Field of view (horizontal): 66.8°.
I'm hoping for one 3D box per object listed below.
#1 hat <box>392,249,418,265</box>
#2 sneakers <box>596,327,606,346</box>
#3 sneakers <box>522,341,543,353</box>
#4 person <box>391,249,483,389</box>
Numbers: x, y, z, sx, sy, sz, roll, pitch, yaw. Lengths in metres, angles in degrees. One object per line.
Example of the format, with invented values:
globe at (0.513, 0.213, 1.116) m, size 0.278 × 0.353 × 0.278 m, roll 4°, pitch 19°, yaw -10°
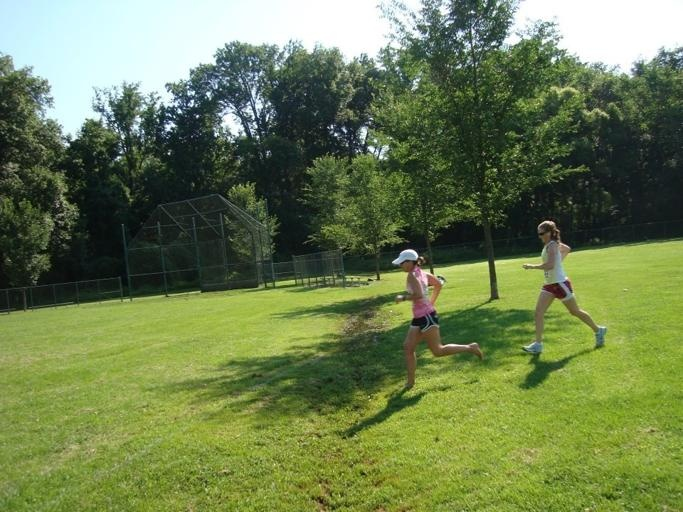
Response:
hat at (1.096, 0.008, 8.867) m, size 0.411 × 0.234 × 0.268 m, roll -1°, pitch -3°, yaw 0°
sneakers at (4.892, 1.499, 9.704) m, size 0.169 × 0.414 × 0.133 m, roll -2°, pitch 2°, yaw 7°
sneakers at (3.692, 1.751, 9.961) m, size 0.172 × 0.178 × 0.361 m, roll 7°, pitch -6°, yaw -33°
person at (1.473, 1.085, 9.051) m, size 1.362 × 2.493 × 0.751 m, roll -11°, pitch 12°, yaw -21°
